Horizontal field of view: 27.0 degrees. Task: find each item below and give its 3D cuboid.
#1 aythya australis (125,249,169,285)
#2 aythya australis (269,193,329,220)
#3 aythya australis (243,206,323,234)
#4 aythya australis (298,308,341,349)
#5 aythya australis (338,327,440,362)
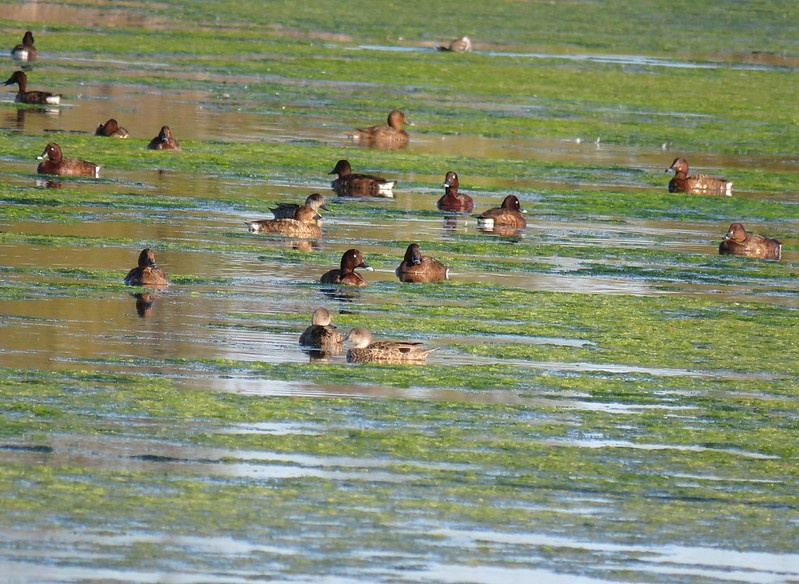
[{"bbox_3d":[-4.246,-0.365,27.846,0.622,0.777,0.444,2,79,-11],"label":"aythya australis"},{"bbox_3d":[-2.127,-1.842,34.590,1.413,0.615,0.493,0,19,-5],"label":"aythya australis"},{"bbox_3d":[-2.286,-1.428,33.445,1.597,0.497,0.572,-2,11,-15],"label":"aythya australis"},{"bbox_3d":[-1.192,0.519,24.566,0.512,0.427,0.756,3,12,-3],"label":"aythya australis"},{"bbox_3d":[-0.178,0.748,24.039,1.446,0.410,0.474,2,-4,4],"label":"aythya australis"}]
